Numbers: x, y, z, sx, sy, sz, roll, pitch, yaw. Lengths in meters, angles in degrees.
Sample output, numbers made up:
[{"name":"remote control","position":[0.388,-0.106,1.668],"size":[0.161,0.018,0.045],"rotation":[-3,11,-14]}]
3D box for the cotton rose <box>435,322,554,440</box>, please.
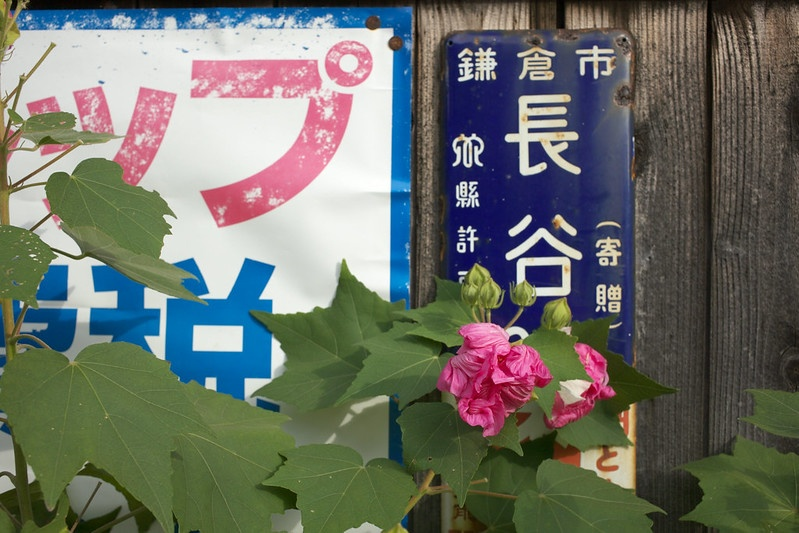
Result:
[{"name":"cotton rose","position":[0.192,0.227,2.176],"size":[0.206,0.119,0.234],"rotation":[13,4,-15]}]
